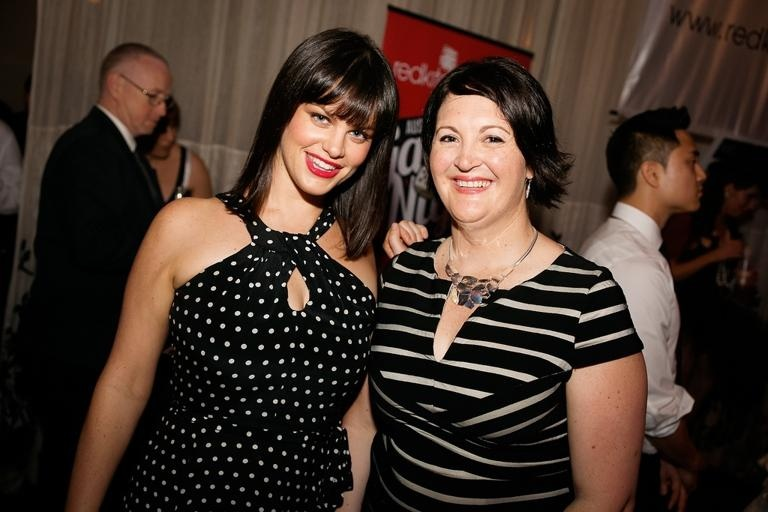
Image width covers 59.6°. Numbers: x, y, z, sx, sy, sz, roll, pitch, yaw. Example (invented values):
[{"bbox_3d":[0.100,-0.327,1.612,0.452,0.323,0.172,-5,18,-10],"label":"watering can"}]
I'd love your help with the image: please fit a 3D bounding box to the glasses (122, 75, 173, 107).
[{"bbox_3d":[-1.448,-1.012,4.090,0.177,0.054,0.173,41,8,19],"label":"glasses"}]
